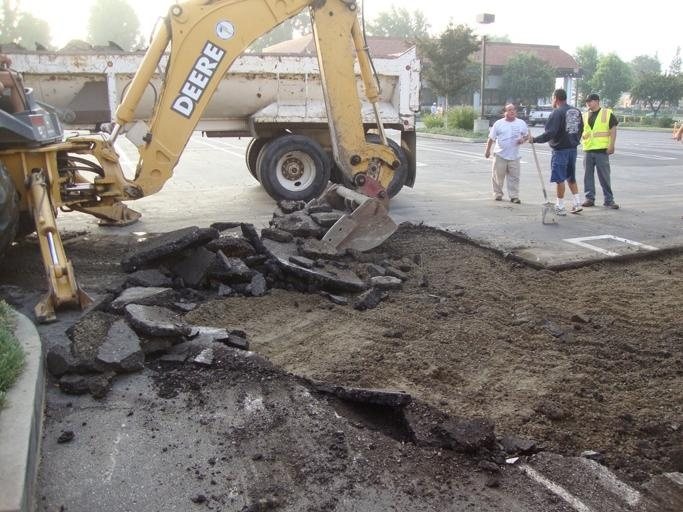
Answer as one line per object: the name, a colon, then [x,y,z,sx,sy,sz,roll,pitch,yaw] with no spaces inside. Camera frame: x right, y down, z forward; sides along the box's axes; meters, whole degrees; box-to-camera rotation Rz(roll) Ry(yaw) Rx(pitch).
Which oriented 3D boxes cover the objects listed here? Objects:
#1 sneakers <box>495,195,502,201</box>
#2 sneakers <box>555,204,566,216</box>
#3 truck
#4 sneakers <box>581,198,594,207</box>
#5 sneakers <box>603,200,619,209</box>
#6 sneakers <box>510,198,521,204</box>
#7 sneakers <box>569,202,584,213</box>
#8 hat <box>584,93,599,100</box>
sneakers: [3.483,-1.278,11.440,0.132,0.080,0.098,3,12,31]
sneakers: [4.198,-0.865,9.904,0.136,0.145,0.344,-1,14,5]
truck: [-2.267,-2.700,11.714,9.233,2.953,2.982,2,4,8]
sneakers: [5.090,-1.088,10.695,0.128,0.117,0.298,1,11,0]
sneakers: [5.443,-1.010,10.441,0.128,0.120,0.269,-4,2,-27]
sneakers: [3.760,-1.194,11.177,0.096,0.091,0.235,-2,4,-23]
sneakers: [4.620,-0.934,10.127,0.138,0.128,0.300,-2,9,10]
hat: [4.949,-3.132,10.134,0.280,0.127,0.188,7,10,4]
